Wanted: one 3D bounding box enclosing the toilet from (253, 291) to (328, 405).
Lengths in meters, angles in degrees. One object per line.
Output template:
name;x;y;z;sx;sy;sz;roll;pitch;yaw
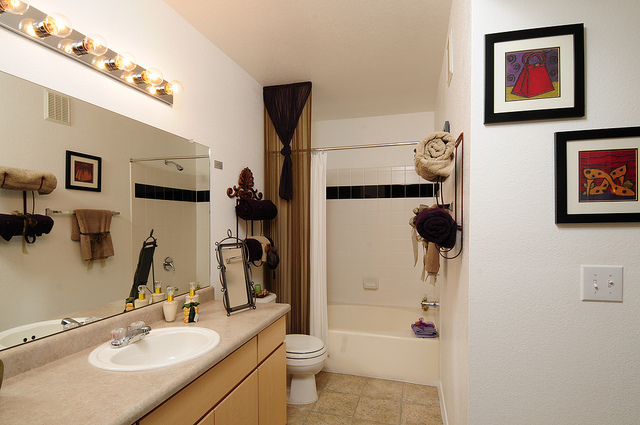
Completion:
toilet;-0.361;1.296;4.067;0.901;1.021;0.609;-2;-4;7

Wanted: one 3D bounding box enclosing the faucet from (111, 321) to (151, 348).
faucet;-1.096;0.708;2.524;0.124;0.064;0.171;2;1;19

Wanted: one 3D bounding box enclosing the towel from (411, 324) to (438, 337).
towel;0.976;1.118;4.085;0.233;0.048;0.160;-2;-1;21

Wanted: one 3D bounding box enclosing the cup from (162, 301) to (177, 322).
cup;-0.977;0.644;2.856;0.112;0.135;0.117;0;-6;0

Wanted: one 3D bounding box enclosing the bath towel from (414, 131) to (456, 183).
bath towel;0.699;-0.315;2.708;0.272;0.293;0.459;0;-2;12

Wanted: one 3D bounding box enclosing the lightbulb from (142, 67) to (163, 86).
lightbulb;-1.072;-0.874;2.821;0.102;0.088;0.109;5;12;-2

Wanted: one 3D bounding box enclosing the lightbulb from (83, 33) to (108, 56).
lightbulb;-1.296;-0.976;2.551;0.096;0.126;0.140;-1;0;-3

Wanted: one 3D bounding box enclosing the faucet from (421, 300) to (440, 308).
faucet;1.012;0.843;3.991;0.150;0.053;0.097;-2;-1;16

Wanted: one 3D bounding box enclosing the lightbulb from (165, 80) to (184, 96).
lightbulb;-0.984;-0.844;2.984;0.100;0.082;0.081;-1;-14;17

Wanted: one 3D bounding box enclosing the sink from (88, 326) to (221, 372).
sink;-0.931;0.785;2.496;0.688;0.228;0.398;-1;-1;-29

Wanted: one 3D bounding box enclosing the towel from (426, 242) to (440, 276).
towel;0.713;0.283;2.773;0.068;0.082;0.280;2;43;12

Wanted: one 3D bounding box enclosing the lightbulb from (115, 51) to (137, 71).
lightbulb;-1.189;-0.927;2.688;0.116;0.121;0.132;5;3;-35

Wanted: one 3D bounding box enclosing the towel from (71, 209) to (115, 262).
towel;-1.341;0.136;2.564;0.103;0.407;0.305;-1;0;29
